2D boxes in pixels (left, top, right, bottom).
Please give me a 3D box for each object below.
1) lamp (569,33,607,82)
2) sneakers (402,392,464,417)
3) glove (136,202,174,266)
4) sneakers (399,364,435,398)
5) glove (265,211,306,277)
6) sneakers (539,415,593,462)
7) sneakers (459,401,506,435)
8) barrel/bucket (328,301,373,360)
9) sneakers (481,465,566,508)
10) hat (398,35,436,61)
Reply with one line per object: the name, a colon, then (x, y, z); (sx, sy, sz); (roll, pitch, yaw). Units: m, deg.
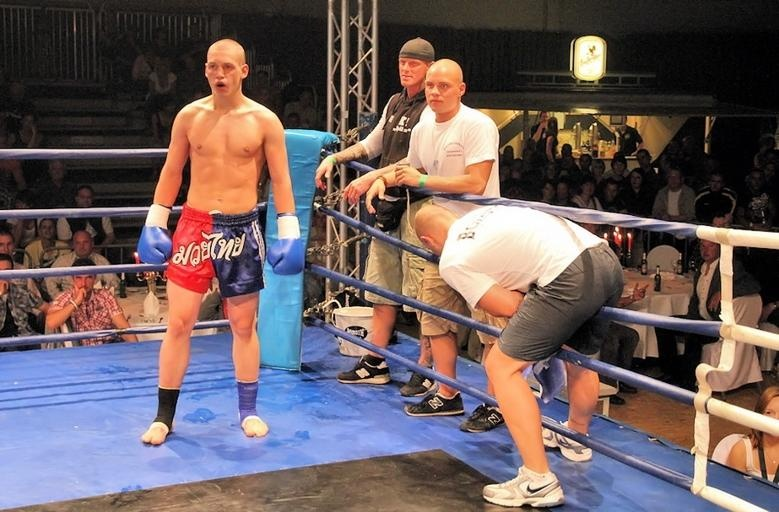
lamp: (3.160, -3.171, 11.099); (0.739, 0.941, 0.324); (-4, 9, -5)
sneakers: (0.267, 0.951, 4.431); (0.393, 0.150, 0.141); (1, -4, -4)
glove: (-1.368, -0.120, 4.102); (0.261, 0.331, 0.134); (22, -17, -15)
sneakers: (0.181, 0.868, 4.646); (0.132, 0.126, 0.307); (-4, -4, 41)
glove: (-0.635, -0.065, 4.157); (0.248, 0.342, 0.145); (-8, -6, -17)
sneakers: (1.005, 1.032, 3.994); (0.154, 0.154, 0.361); (-16, 22, -28)
sneakers: (0.567, 0.996, 4.243); (0.328, 0.132, 0.131); (-1, 0, -27)
barrel/bucket: (-0.284, 0.601, 5.328); (0.369, 0.271, 0.322); (-3, 6, -15)
sneakers: (0.681, 1.173, 3.552); (0.448, 0.208, 0.166); (1, -3, 3)
hat: (0.195, -1.379, 4.629); (0.200, 0.135, 0.194); (-4, 12, -4)
